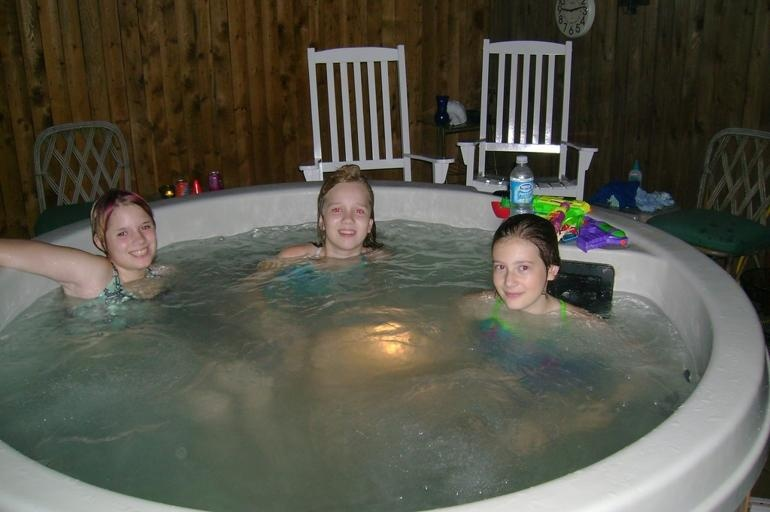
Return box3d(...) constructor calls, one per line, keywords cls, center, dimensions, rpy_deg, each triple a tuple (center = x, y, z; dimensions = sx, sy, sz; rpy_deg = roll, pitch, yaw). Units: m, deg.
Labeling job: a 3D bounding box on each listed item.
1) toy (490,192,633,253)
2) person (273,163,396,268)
box3d(cls="toy", center=(0.881, -0.157, 2.753), dimensions=(0.267, 0.136, 0.428), rpy_deg=(-7, 34, -15))
box3d(cls="person", center=(-0.199, -0.226, 3.005), dimensions=(0.773, 0.495, 0.339), rpy_deg=(0, 7, -17))
